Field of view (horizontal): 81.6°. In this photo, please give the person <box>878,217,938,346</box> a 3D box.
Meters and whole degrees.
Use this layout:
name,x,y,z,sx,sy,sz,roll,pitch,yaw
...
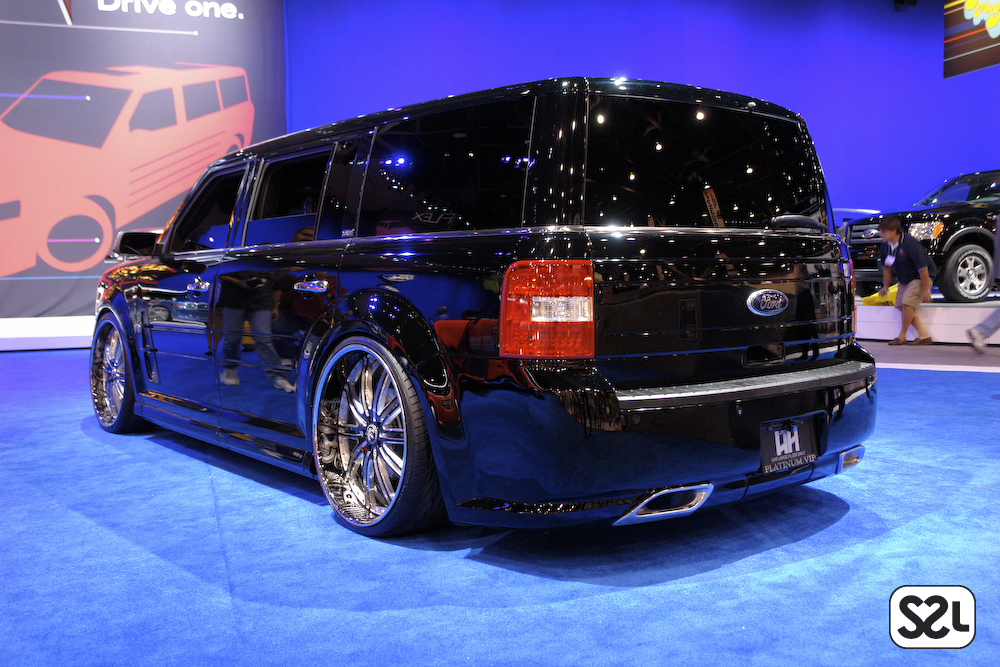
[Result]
name,x,y,z,sx,sy,sz,roll,pitch,yaw
person,7.118,-0.945,10.174,0.797,2.267,0.813,2,7,33

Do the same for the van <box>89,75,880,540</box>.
name,x,y,z,sx,sy,sz,roll,pitch,yaw
van,-0.616,-0.288,3.735,2.403,1.290,4.251,-5,10,-44
